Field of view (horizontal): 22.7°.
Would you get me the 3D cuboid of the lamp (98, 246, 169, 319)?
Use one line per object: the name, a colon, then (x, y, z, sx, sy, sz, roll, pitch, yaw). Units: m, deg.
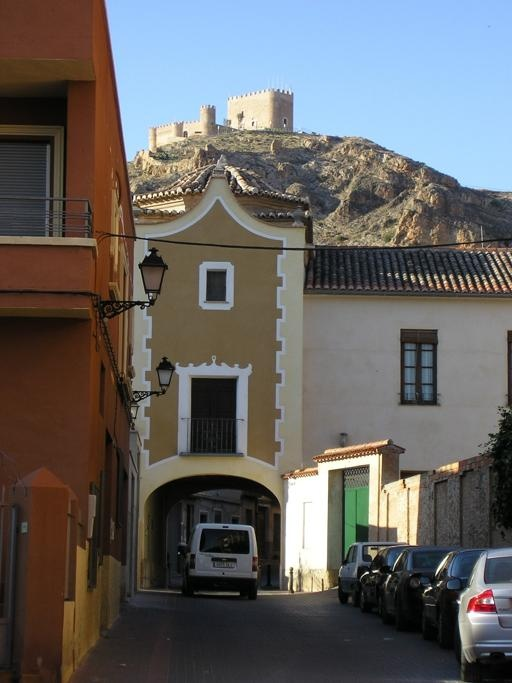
lamp: (-1.579, -0.674, 16.585, 0.758, 1.163, 0.380, 9, -34, -10)

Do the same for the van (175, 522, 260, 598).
van: (-0.793, 5.036, 28.746, 1.601, 1.721, 1.907, 2, -5, -5)

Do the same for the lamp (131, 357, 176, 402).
lamp: (-1.951, 0.785, 24.244, 0.803, 1.157, 0.397, 0, 27, -25)
